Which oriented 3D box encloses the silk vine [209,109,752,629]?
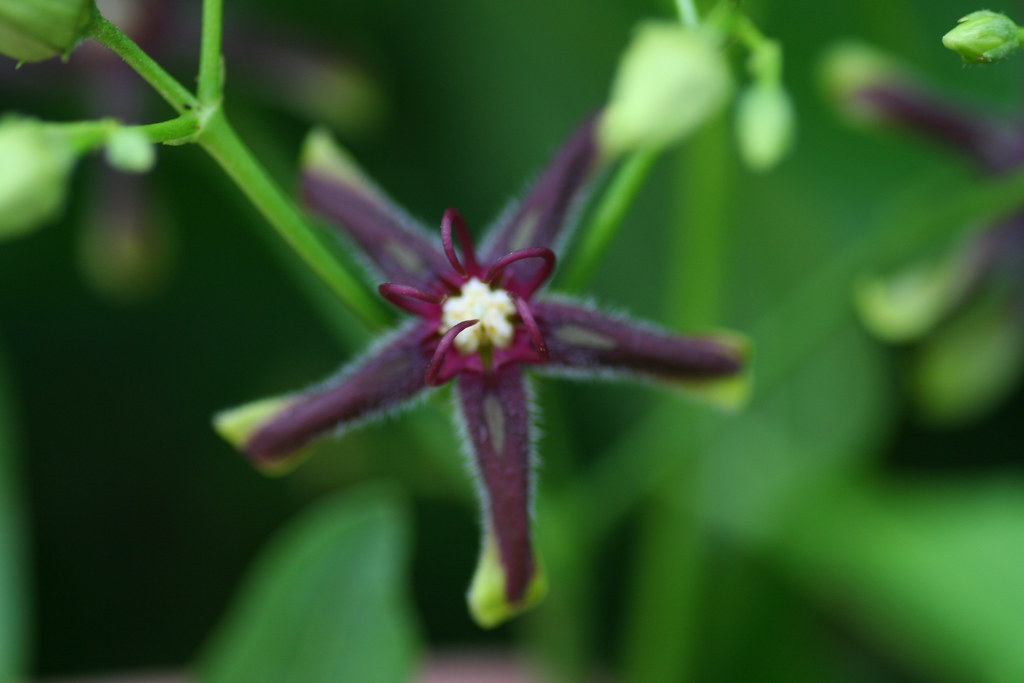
[{"bbox_3d":[-0.073,-0.019,1.616,0.751,0.290,0.815,-39,60,-4],"label":"silk vine"}]
